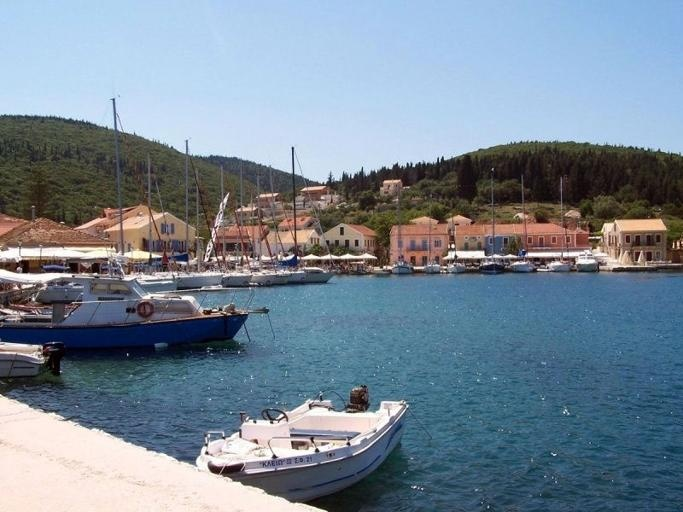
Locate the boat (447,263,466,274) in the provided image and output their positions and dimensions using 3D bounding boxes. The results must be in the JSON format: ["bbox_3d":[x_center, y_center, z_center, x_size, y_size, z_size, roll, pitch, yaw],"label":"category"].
[{"bbox_3d":[17.716,2.030,113.480,2.600,1.616,1.974,1,0,6],"label":"boat"}]

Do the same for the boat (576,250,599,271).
[{"bbox_3d":[37.142,0.999,110.746,3.016,3.229,3.994,1,0,16],"label":"boat"}]

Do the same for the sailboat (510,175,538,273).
[{"bbox_3d":[35.474,-6.271,142.844,3.978,23.384,2.831,-3,2,11],"label":"sailboat"}]

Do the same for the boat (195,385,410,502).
[{"bbox_3d":[-1.118,6.486,24.261,4.553,2.814,9.414,-5,-1,27],"label":"boat"}]
